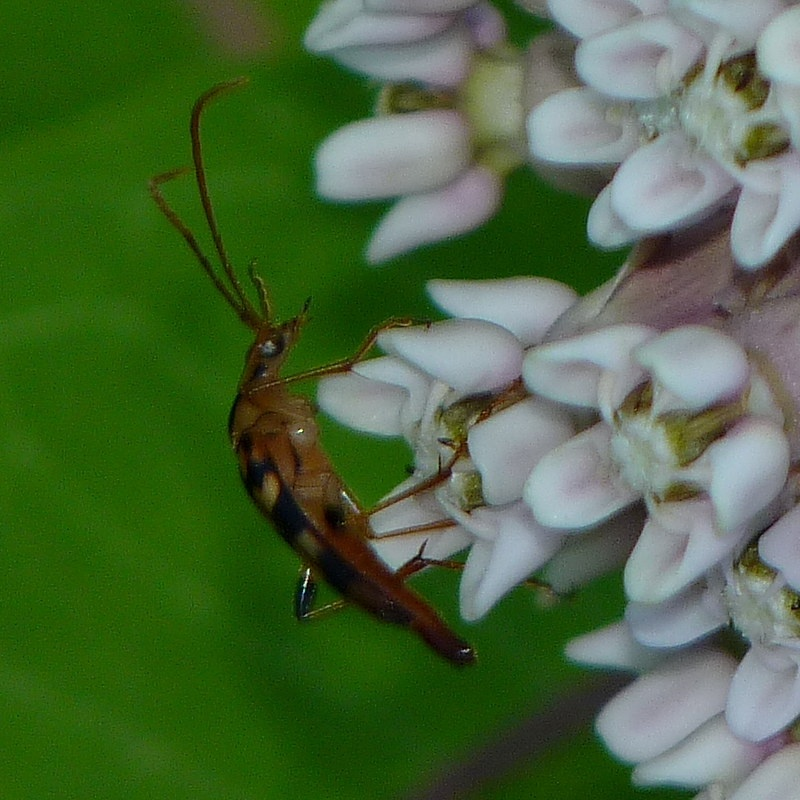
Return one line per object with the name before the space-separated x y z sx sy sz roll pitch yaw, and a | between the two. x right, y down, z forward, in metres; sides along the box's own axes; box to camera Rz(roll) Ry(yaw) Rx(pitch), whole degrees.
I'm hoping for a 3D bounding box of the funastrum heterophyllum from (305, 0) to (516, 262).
funastrum heterophyllum | 0.008 -0.240 1.117 0.170 0.226 0.178 -2 61 2
